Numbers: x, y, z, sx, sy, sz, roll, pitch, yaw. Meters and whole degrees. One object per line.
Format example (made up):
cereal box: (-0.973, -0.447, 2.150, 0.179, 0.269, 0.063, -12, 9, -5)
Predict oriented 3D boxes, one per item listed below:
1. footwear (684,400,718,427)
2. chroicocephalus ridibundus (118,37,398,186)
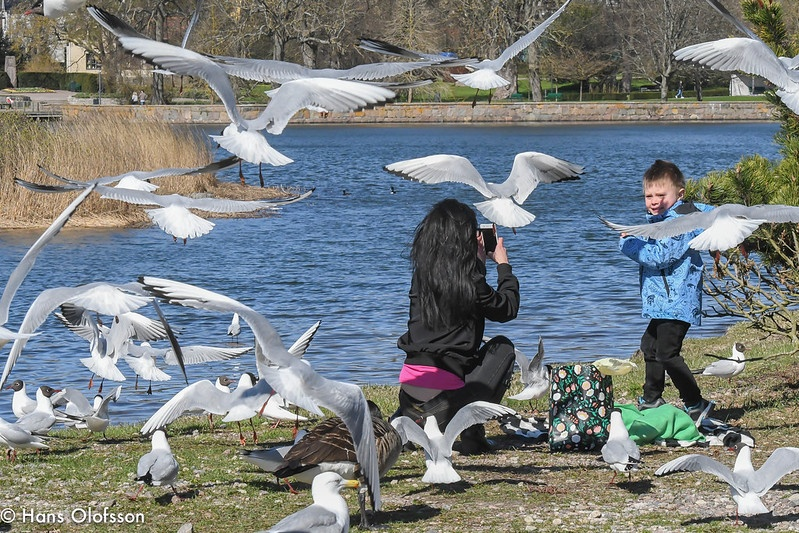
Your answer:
footwear: (9.668, 4.628, 62.304, 1.195, 0.537, 0.476, -40, 1, -28)
chroicocephalus ridibundus: (-4.494, -5.204, 61.425, 7.748, 4.060, 1.398, -2, 7, 0)
